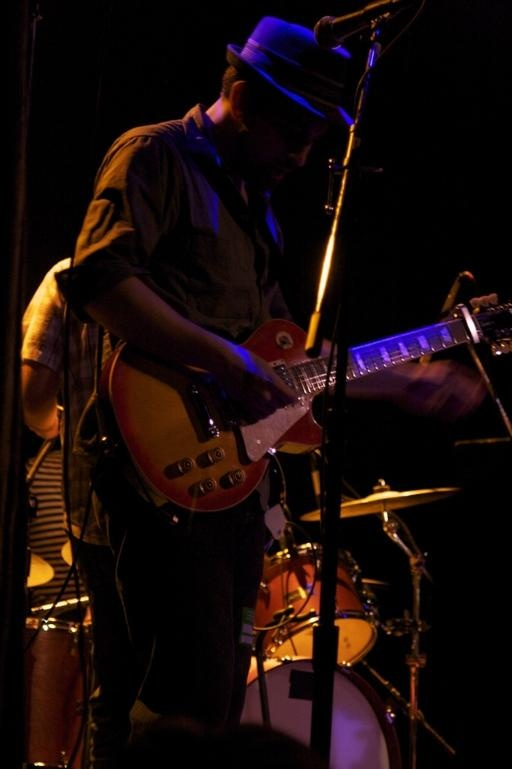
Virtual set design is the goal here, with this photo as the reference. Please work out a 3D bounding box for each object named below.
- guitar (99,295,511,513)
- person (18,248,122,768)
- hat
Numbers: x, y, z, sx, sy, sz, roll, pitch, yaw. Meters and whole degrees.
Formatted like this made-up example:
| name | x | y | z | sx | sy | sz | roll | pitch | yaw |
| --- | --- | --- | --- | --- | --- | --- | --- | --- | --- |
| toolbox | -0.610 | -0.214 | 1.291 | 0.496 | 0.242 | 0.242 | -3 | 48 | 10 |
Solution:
| name | x | y | z | sx | sy | sz | roll | pitch | yaw |
| --- | --- | --- | --- | --- | --- | --- | --- | --- | --- |
| guitar | 0.103 | 0.038 | 1.990 | 0.237 | 0.458 | 1.182 | 10 | 8 | 40 |
| person | -0.573 | 0.231 | 1.972 | 0.178 | 1.428 | 0.514 | -5 | -8 | 14 |
| hat | 0.106 | -0.836 | 1.964 | 0.322 | 0.127 | 0.278 | 40 | 7 | 30 |
